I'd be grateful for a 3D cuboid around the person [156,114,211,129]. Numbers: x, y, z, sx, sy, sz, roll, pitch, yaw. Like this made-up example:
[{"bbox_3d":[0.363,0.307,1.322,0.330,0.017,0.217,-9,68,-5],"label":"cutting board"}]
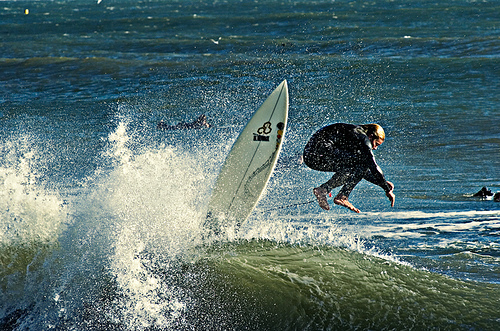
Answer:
[{"bbox_3d":[-2.365,-1.562,26.510,2.653,0.497,0.473,-4,9,30],"label":"person"}]
